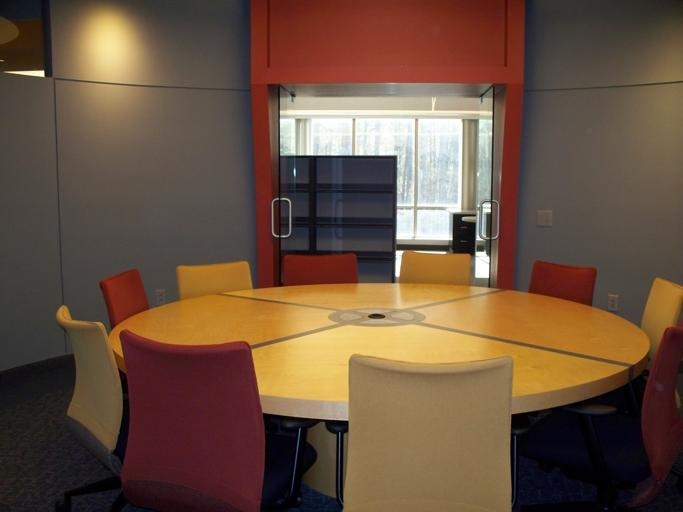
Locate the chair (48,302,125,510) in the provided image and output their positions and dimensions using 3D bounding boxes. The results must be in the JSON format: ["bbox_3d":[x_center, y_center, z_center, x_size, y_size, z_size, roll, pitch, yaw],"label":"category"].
[{"bbox_3d":[-1.145,0.629,2.693,0.491,0.740,0.240,10,15,40],"label":"chair"}]
